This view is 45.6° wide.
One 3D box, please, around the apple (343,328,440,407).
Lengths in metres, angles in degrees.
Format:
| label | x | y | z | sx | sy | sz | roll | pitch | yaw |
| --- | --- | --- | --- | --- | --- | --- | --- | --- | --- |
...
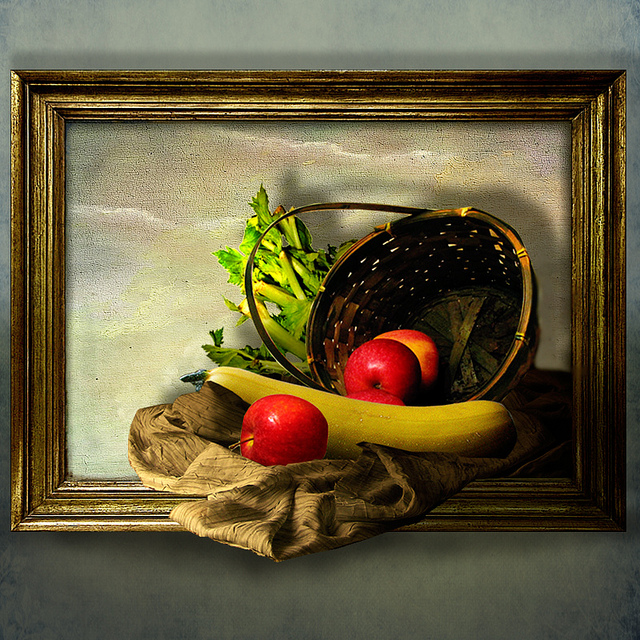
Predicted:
| label | x | y | z | sx | sy | sz | roll | pitch | yaw |
| --- | --- | --- | --- | --- | --- | --- | --- | --- | --- |
| apple | 0.081 | 0.067 | 1.038 | 0.094 | 0.087 | 0.083 | 1 | 5 | -41 |

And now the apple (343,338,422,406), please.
| label | x | y | z | sx | sy | sz | roll | pitch | yaw |
| --- | --- | --- | --- | --- | --- | --- | --- | --- | --- |
| apple | 0.085 | 0.070 | 1.008 | 0.068 | 0.066 | 0.062 | -44 | -6 | -49 |

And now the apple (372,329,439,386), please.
| label | x | y | z | sx | sy | sz | roll | pitch | yaw |
| --- | --- | --- | --- | --- | --- | --- | --- | --- | --- |
| apple | 0.140 | 0.048 | 1.111 | 0.076 | 0.071 | 0.087 | -9 | 17 | -42 |

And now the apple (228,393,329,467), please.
| label | x | y | z | sx | sy | sz | roll | pitch | yaw |
| --- | --- | --- | --- | --- | --- | --- | --- | --- | --- |
| apple | -0.043 | 0.132 | 0.962 | 0.136 | 0.085 | 0.095 | -12 | 15 | -8 |
